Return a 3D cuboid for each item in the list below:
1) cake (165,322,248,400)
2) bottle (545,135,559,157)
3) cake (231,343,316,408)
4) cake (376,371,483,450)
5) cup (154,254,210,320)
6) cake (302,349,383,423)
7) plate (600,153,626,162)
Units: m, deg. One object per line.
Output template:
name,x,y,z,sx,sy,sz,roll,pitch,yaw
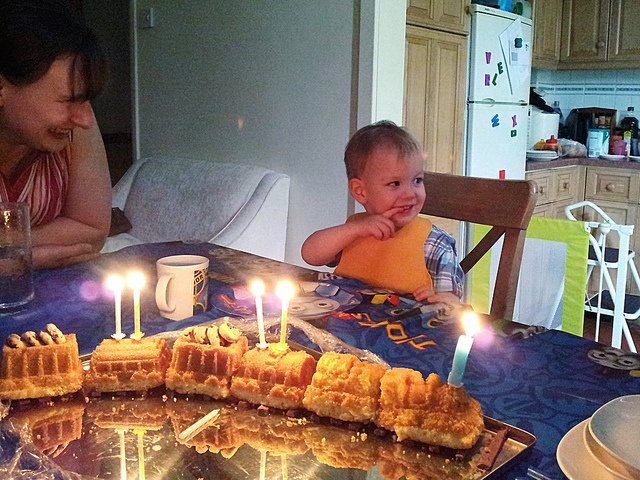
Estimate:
cake,-0.160,0.163,0.717,0.099,0.068,0.098,6,14,15
bottle,1.977,-0.801,4.171,0.143,0.179,0.137,0,1,0
cake,-0.063,0.184,0.700,0.115,0.062,0.106,4,5,8
cake,0.131,0.197,0.626,0.162,0.047,0.129,5,23,14
cup,-0.278,0.100,0.942,0.096,0.102,0.146,4,7,10
cake,0.035,0.178,0.642,0.079,0.046,0.077,8,17,14
plate,2.455,-0.685,4.109,0.204,0.061,0.236,6,9,28
